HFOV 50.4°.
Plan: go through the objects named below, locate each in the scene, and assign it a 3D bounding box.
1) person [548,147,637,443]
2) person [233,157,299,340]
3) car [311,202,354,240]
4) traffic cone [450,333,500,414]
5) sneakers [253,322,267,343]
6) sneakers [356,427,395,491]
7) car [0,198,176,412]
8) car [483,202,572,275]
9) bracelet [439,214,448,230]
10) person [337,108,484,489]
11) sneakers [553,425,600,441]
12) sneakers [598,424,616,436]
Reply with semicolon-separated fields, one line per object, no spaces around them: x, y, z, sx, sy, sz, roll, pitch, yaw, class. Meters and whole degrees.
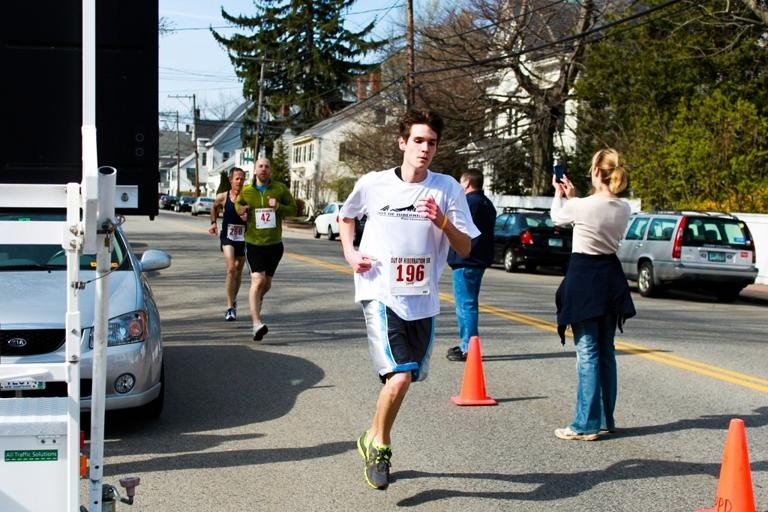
1.863;0.332;7.383;0.739;2.555;0.609;-1;7;-9;person
-1.622;-0.105;11.107;0.749;2.406;1.332;0;7;3;person
-2.326;-1.562;37.344;1.554;1.464;3.386;-1;7;-15;car
0.896;1.159;8.219;0.611;0.837;0.610;-1;3;-4;traffic cone
-1.600;1.011;10.666;0.128;0.161;0.344;2;-28;-23;sneakers
-0.042;1.523;6.177;0.165;0.220;0.484;21;25;-39;sneakers
-2.662;0.615;7.720;1.414;1.174;2.427;0;-1;-6;car
3.929;-0.450;22.501;1.393;1.101;3.266;-2;9;-10;car
0.445;-0.248;6.055;0.034;0.086;0.077;23;43;7;bracelet
0.166;0.322;6.208;0.957;2.808;0.692;-1;7;-5;person
1.713;1.560;7.252;0.344;0.145;0.147;6;-1;5;sneakers
2.021;1.590;7.437;0.071;0.081;0.192;-1;-5;11;sneakers
